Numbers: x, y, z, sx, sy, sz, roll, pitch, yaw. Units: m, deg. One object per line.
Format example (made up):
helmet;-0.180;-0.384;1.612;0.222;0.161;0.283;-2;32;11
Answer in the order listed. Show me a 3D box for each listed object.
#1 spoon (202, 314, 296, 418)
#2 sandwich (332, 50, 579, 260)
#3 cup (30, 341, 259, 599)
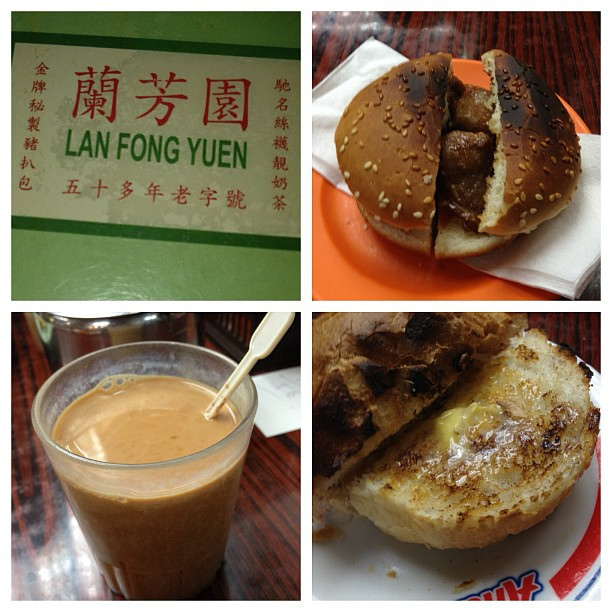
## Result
spoon;-0.086;0.091;0.893;0.027;0.008;0.202;20;58;15
sandwich;0.233;-0.243;0.943;0.383;0.297;0.231;2;24;2
cup;-0.201;0.222;0.757;0.214;0.283;0.258;4;22;3
